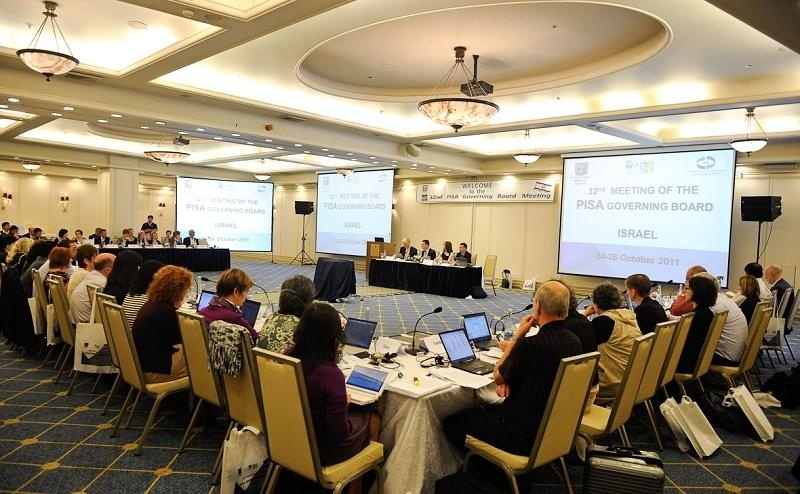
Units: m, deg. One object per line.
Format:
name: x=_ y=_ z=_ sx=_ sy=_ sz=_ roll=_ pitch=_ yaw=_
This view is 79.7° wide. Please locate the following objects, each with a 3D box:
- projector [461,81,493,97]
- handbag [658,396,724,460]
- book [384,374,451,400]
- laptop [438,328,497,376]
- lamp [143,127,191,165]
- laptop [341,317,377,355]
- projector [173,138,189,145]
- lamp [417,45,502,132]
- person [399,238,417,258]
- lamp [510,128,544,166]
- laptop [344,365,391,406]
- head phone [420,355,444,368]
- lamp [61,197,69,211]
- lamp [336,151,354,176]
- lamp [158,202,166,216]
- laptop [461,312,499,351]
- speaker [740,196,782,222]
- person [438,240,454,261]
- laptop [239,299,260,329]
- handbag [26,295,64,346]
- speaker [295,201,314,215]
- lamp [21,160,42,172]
projector: x=1.392 y=-2.794 z=8.486 sx=0.379 sy=0.142 sz=0.402 roll=0 pitch=1 yaw=-28
handbag: x=3.499 y=2.194 z=5.752 sx=0.255 sy=0.602 sz=0.528 roll=-39 pitch=-12 yaw=35
book: x=0.198 y=1.399 z=4.855 sx=0.522 sy=0.087 sz=0.461 roll=10 pitch=16 yaw=32
laptop: x=0.773 y=1.142 z=5.321 sx=0.455 sy=0.332 sz=0.600 roll=-8 pitch=17 yaw=-34
lamp: x=-6.684 y=-2.924 z=13.658 sx=1.131 sy=0.819 sz=1.004 roll=-4 pitch=-4 yaw=23
laptop: x=-0.464 y=1.022 z=5.706 sx=0.417 sy=0.274 sz=0.346 roll=10 pitch=1 yaw=23
projector: x=-5.893 y=-2.826 z=12.873 sx=0.280 sy=0.191 sz=0.294 roll=-1 pitch=-1 yaw=41
lamp: x=1.129 y=-2.686 z=8.651 sx=1.068 sy=1.188 sz=1.460 roll=-10 pitch=-15 yaw=38
person: x=0.277 y=0.023 z=15.315 sx=0.490 sy=1.054 sz=0.388 roll=-6 pitch=-22 yaw=15
lamp: x=3.469 y=-2.775 z=13.011 sx=0.908 sy=1.252 sz=0.898 roll=1 pitch=-8 yaw=3
laptop: x=-0.325 y=1.395 z=4.812 sx=0.391 sy=0.347 sz=0.237 roll=8 pitch=-15 yaw=21
head phone: x=0.364 y=1.258 z=5.352 sx=0.275 sy=0.053 sz=0.283 roll=2 pitch=14 yaw=1
lamp: x=-12.788 y=-1.673 z=18.272 sx=0.319 sy=0.556 sz=0.122 roll=-9 pitch=18 yaw=-36
lamp: x=-1.805 y=-2.726 z=15.632 sx=0.658 sy=0.311 sz=0.650 roll=-1 pitch=-16 yaw=4
lamp: x=-10.616 y=-1.709 z=21.282 sx=0.306 sy=0.515 sz=0.185 roll=5 pitch=-1 yaw=-41
laptop: x=0.983 y=1.042 z=5.980 sx=0.404 sy=0.324 sz=0.496 roll=5 pitch=3 yaw=41
speaker: x=8.070 y=-0.866 z=10.707 sx=0.687 sy=0.414 sz=0.662 roll=-3 pitch=2 yaw=-37
person: x=1.415 y=0.119 z=14.534 sx=0.489 sy=0.869 sz=0.689 roll=3 pitch=-1 yaw=1
laptop: x=-1.913 y=0.863 z=6.130 sx=0.409 sy=0.276 sz=0.293 roll=10 pitch=-12 yaw=-16
handbag: x=-5.230 y=1.047 z=7.043 sx=0.327 sy=0.737 sz=0.834 roll=2 pitch=-3 yaw=-44
speaker: x=-3.655 y=-1.502 z=18.485 sx=0.585 sy=0.430 sz=0.580 roll=1 pitch=-1 yaw=6
lamp: x=-12.202 y=-2.707 z=15.802 sx=0.339 sy=0.199 sz=0.334 roll=0 pitch=-2 yaw=6
